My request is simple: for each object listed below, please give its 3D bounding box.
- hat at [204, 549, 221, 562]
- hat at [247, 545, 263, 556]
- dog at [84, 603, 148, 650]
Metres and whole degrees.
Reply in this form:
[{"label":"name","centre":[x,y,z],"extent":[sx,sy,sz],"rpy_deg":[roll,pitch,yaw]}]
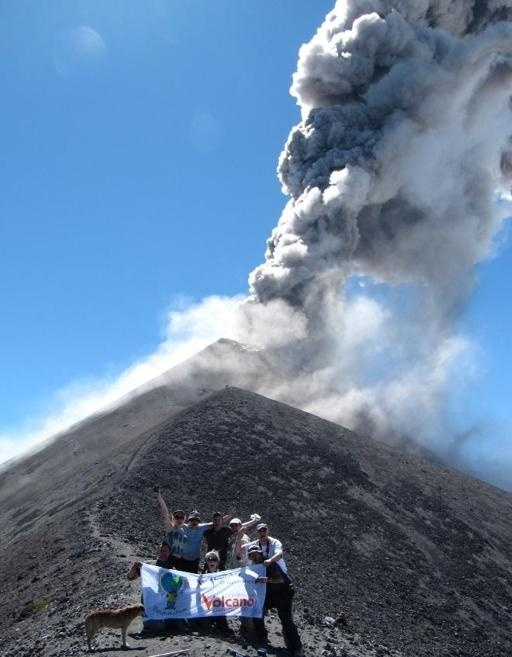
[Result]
[{"label":"hat","centre":[-0.825,4.368,10.808],"extent":[0.285,0.350,0.378],"rpy_deg":[0,-35,-2]},{"label":"hat","centre":[-0.037,4.203,10.579],"extent":[0.231,0.178,0.232],"rpy_deg":[-21,-6,29]},{"label":"dog","centre":[-2.573,5.313,10.108],"extent":[1.180,0.614,0.658],"rpy_deg":[-19,-5,11]}]
